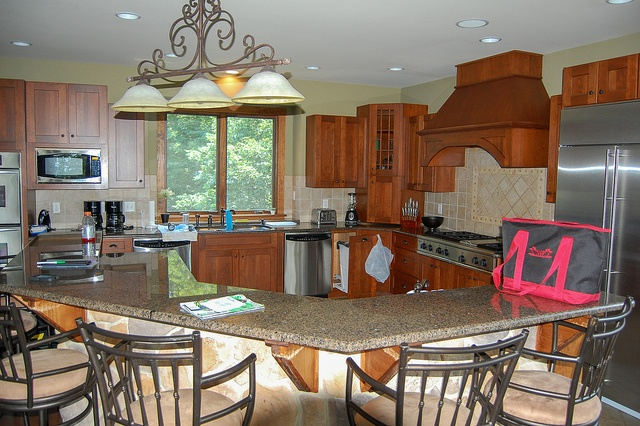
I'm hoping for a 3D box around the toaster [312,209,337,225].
[{"bbox_3d":[0.060,0.061,7.099,0.290,0.200,0.281,0,1,-31],"label":"toaster"}]

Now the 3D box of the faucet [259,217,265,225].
[{"bbox_3d":[-0.839,0.134,6.933,0.091,0.086,0.091,-1,3,-30],"label":"faucet"}]

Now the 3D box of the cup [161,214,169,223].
[{"bbox_3d":[-2.106,0.078,6.416,0.116,0.110,0.108,1,7,0],"label":"cup"}]

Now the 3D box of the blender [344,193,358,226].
[{"bbox_3d":[0.480,-0.071,7.183,0.189,0.457,0.567,3,8,3],"label":"blender"}]

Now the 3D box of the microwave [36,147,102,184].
[{"bbox_3d":[-3.189,-0.456,5.992,0.749,0.438,0.443,-1,4,-32],"label":"microwave"}]

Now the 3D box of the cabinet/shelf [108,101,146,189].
[{"bbox_3d":[-2.530,-0.869,6.165,0.421,1.057,0.190,0,9,-11],"label":"cabinet/shelf"}]

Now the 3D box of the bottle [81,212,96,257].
[{"bbox_3d":[-2.044,0.207,4.177,0.103,0.344,0.423,-2,9,-27],"label":"bottle"}]

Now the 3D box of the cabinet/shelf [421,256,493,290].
[{"bbox_3d":[1.724,0.650,5.726,0.406,0.428,0.678,0,5,-21],"label":"cabinet/shelf"}]

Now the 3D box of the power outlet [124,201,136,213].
[{"bbox_3d":[-2.596,-0.084,6.434,0.170,0.154,0.082,1,5,-13],"label":"power outlet"}]

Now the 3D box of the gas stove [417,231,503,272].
[{"bbox_3d":[1.737,0.466,5.711,0.347,0.302,1.267,-2,9,-28],"label":"gas stove"}]
